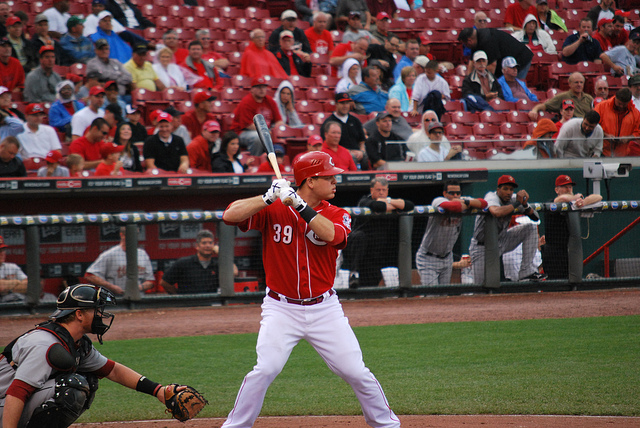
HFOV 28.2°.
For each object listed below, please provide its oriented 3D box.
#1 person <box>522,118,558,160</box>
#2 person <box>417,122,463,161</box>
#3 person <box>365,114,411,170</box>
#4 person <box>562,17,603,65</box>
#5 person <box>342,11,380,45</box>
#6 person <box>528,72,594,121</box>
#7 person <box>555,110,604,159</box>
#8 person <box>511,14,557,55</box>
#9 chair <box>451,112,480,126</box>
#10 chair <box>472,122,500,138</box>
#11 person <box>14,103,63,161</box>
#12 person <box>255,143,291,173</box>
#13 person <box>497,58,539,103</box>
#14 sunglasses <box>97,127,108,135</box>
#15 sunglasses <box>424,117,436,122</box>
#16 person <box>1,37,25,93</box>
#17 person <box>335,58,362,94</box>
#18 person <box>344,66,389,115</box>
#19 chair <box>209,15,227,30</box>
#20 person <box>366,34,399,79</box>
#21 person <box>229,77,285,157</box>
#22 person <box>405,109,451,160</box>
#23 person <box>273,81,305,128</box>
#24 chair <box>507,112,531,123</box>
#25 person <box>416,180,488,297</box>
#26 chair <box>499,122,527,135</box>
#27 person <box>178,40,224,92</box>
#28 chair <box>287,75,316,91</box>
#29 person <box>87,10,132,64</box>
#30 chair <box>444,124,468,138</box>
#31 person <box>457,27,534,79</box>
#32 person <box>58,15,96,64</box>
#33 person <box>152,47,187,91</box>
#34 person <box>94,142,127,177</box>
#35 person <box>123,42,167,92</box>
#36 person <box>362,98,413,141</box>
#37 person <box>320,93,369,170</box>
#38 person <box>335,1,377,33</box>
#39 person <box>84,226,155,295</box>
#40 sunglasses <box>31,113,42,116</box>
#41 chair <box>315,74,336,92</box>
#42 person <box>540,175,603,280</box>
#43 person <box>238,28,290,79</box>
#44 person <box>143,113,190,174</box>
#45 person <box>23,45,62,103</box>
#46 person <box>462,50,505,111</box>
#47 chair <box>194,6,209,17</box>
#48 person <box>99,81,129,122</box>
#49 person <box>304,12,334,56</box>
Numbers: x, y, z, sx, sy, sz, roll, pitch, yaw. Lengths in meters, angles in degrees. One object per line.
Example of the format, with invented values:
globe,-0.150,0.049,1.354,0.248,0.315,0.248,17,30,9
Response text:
person,4.261,-1.417,24.801,0.665,0.810,0.382,-2,-4,8
person,2.249,-1.342,24.426,0.944,0.807,0.456,1,-7,-22
person,1.321,-1.356,24.201,0.981,1.119,0.887,-5,10,-13
person,5.825,-3.806,28.497,0.885,1.020,0.607,-2,-4,11
person,0.776,-3.830,26.754,0.666,0.814,0.840,-4,8,-10
person,5.138,-2.332,25.903,2.138,0.990,0.608,-3,7,-16
person,4.990,-1.475,24.565,0.847,0.614,1.162,-3,-38,-5
person,4.672,-3.978,28.496,1.186,0.895,0.654,-5,7,-5
chair,2.958,-1.926,25.999,0.339,0.170,0.417,2,-8,-3
chair,3.337,-1.655,25.922,0.459,0.151,0.320,7,-2,-19
person,-5.130,-1.376,23.130,0.976,1.235,0.786,3,-2,-28
person,-0.866,-1.013,23.979,0.605,0.747,0.666,0,-4,4
person,4.109,-2.718,26.732,0.913,1.014,0.795,6,11,26
sunglasses,-3.905,-1.479,23.004,0.081,0.126,0.233,-4,-5,26
sunglasses,2.075,-1.781,24.237,0.217,0.080,0.114,-2,-4,6
person,-5.844,-2.835,24.191,0.316,1.067,0.593,-3,-4,16
person,0.591,-2.800,25.970,0.480,0.683,0.933,0,11,18
person,0.884,-2.429,25.479,1.324,0.808,0.429,1,-3,-45
chair,-2.284,-4.235,28.264,0.359,0.231,0.336,0,-2,-4
person,1.264,-3.238,26.527,0.361,0.481,1.143,-5,32,42
person,-1.118,-1.755,24.303,1.276,1.551,1.207,-7,19,-13
person,2.041,-1.469,24.526,1.198,1.026,0.615,1,-4,-6
person,-0.605,-2.096,24.848,0.701,0.859,0.351,-14,31,-21
chair,4.072,-1.955,26.299,0.360,0.115,0.239,1,-3,-9
person,2.275,0.472,22.906,1.147,2.075,0.475,-2,-4,7
chair,3.931,-1.710,26.076,0.432,0.150,0.322,5,-6,-26
person,-2.419,-2.924,25.667,0.849,1.102,1.247,7,15,35
chair,-0.379,-2.692,26.214,0.434,0.154,0.349,1,0,44
person,-4.142,-3.403,25.042,0.745,1.088,0.903,10,26,30
chair,2.746,-1.654,25.687,0.390,0.286,0.269,-2,10,4
person,3.674,-3.277,26.836,1.694,1.239,0.964,-5,16,-19
person,-4.746,-3.411,25.206,0.847,0.983,0.665,0,19,-16
person,-3.014,-2.827,25.182,0.688,0.851,0.750,-7,10,-22
person,-3.768,-0.904,23.040,0.593,0.749,0.701,-1,6,-10
person,-3.429,-2.769,24.879,1.049,1.016,0.803,7,12,34
person,1.358,-1.822,24.755,1.223,0.807,0.634,-10,18,-40
person,0.507,-1.432,24.144,1.003,1.713,1.066,-2,0,-24
person,0.821,-4.273,27.774,0.722,0.829,0.874,-17,26,-33
person,-3.491,0.796,21.850,1.079,1.365,0.564,8,11,-19
sunglasses,-5.108,-1.782,23.108,0.077,0.049,0.188,-4,-5,27
chair,0.113,-2.688,26.384,0.366,0.445,0.411,0,0,-9
person,4.482,0.273,23.360,0.931,1.923,0.454,-2,-4,9
person,-1.208,-3.142,25.848,1.266,1.078,0.742,-13,21,-36
person,-2.875,-1.197,23.572,0.707,1.193,0.884,-1,-8,7
person,-5.279,-2.623,24.150,0.688,1.094,0.456,-2,-4,-3
person,3.265,-2.722,26.257,0.772,1.248,0.921,-3,-4,22
chair,-2.655,-4.512,28.496,0.249,0.221,0.239,-1,4,15
person,-3.789,-2.162,23.702,0.436,0.615,1.073,-5,5,-34
person,-0.048,-3.782,27.206,0.817,1.016,0.608,-7,21,-28
